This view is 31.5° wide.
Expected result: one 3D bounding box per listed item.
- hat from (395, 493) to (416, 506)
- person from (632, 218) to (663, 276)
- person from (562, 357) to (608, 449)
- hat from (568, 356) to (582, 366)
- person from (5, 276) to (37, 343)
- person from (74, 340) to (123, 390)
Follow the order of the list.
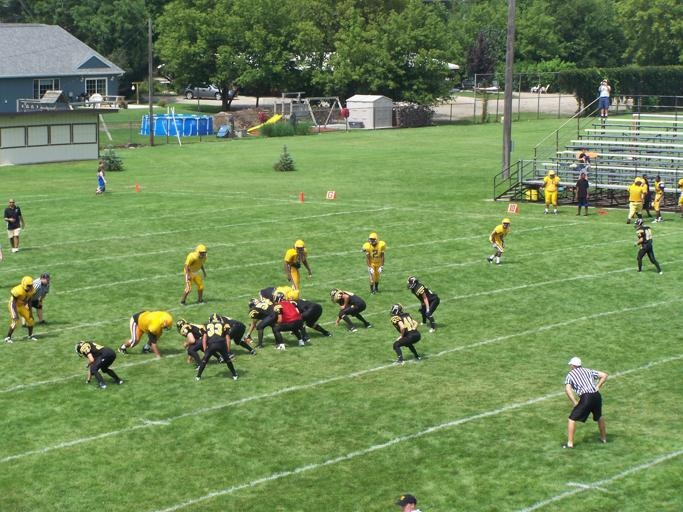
[{"bbox_3d":[1.525,5.840,29.079,0.447,0.220,0.318,2,-1,5],"label":"hat"},{"bbox_3d":[11.013,-0.360,43.620,1.095,1.923,0.870,1,7,42],"label":"person"},{"bbox_3d":[6.534,3.914,32.721,1.137,2.356,1.271,-1,0,11],"label":"person"},{"bbox_3d":[6.228,2.837,32.448,0.240,0.265,0.502,-4,7,1],"label":"hat"},{"bbox_3d":[-10.196,1.609,38.339,1.111,2.032,0.880,-2,16,-24],"label":"person"},{"bbox_3d":[-7.189,3.136,35.686,1.198,1.406,1.124,-5,7,-11],"label":"person"}]
